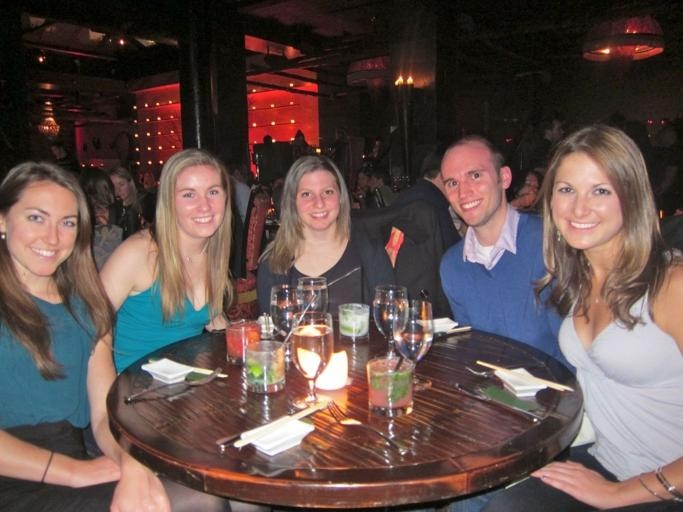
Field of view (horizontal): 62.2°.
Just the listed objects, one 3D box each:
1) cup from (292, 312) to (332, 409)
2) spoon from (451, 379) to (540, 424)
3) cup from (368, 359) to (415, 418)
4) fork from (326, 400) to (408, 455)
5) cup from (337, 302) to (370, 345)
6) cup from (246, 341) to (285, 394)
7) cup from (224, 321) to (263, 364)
[{"bbox_3d":[-0.106,0.422,2.226,0.153,0.312,0.140,2,3,0],"label":"cup"},{"bbox_3d":[0.590,0.541,2.176,0.340,0.023,0.103,12,31,40],"label":"spoon"},{"bbox_3d":[0.191,0.505,2.176,0.200,0.182,0.200,-2,-7,0],"label":"cup"},{"bbox_3d":[0.098,0.619,2.024,0.308,0.044,0.042,22,35,37],"label":"fork"},{"bbox_3d":[0.063,0.329,2.784,0.147,0.149,0.138,-2,3,0],"label":"cup"},{"bbox_3d":[-0.304,0.437,2.249,0.200,0.204,0.193,1,2,0],"label":"cup"},{"bbox_3d":[-0.440,0.387,2.558,0.158,0.161,0.147,-1,9,0],"label":"cup"}]
